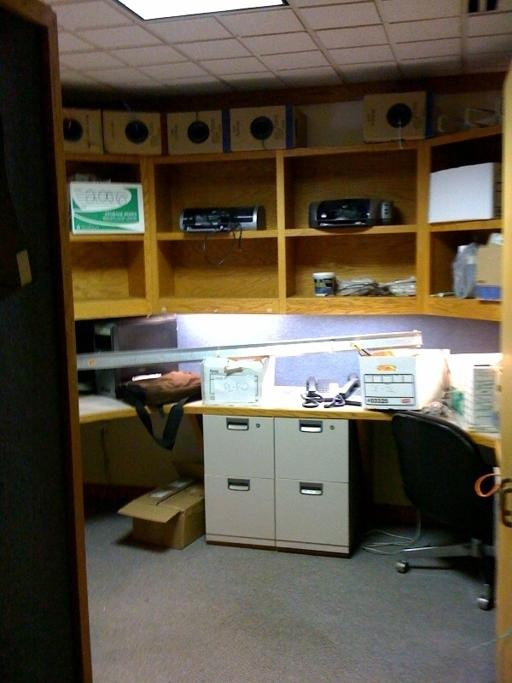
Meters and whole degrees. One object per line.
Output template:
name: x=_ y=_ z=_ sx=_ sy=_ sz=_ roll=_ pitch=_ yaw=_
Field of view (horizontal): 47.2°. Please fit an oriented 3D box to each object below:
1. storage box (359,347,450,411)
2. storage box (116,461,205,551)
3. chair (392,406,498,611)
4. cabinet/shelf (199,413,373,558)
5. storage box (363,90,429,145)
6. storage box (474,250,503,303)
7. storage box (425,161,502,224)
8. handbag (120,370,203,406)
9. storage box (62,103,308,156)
storage box: x=0.636 y=0.142 z=2.521 sx=0.240 sy=0.213 sz=0.343 roll=1 pitch=10 yaw=14
storage box: x=-0.375 y=0.831 z=2.926 sx=0.224 sy=0.187 sz=0.418 roll=2 pitch=5 yaw=22
chair: x=0.789 y=0.626 z=2.442 sx=0.392 sy=0.730 sz=0.648 roll=1 pitch=2 yaw=22
cabinet/shelf: x=0.178 y=0.561 z=2.957 sx=0.772 sy=0.726 sz=0.609 roll=-1 pitch=-1 yaw=19
storage box: x=0.615 y=-1.027 z=2.691 sx=0.307 sy=0.209 sz=0.164 roll=-5 pitch=16 yaw=-7
storage box: x=0.899 y=-0.263 z=2.250 sx=0.070 sy=0.207 sz=0.155 roll=-1 pitch=2 yaw=-22
storage box: x=0.861 y=-0.610 z=2.443 sx=0.092 sy=0.243 sz=0.370 roll=-1 pitch=2 yaw=-24
handbag: x=-0.423 y=0.219 z=2.839 sx=0.211 sy=0.076 sz=0.214 roll=2 pitch=8 yaw=40
storage box: x=-0.350 y=-1.029 z=2.863 sx=1.155 sy=0.211 sz=0.188 roll=0 pitch=2 yaw=3
